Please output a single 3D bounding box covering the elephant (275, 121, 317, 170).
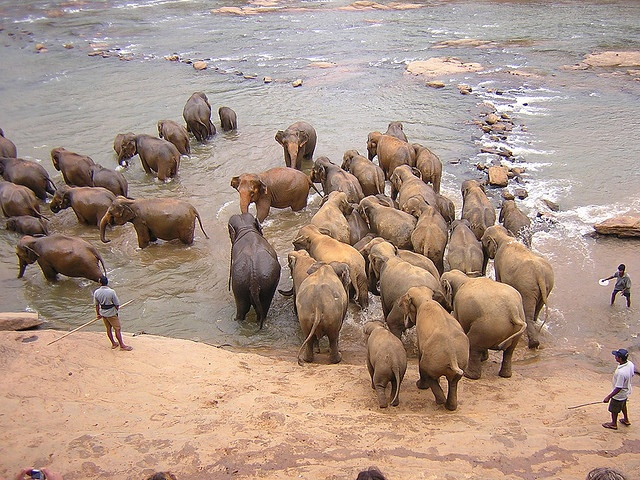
[{"bbox_3d":[-0.582,-2.330,14.880,0.667,1.193,1.612,3,19,18],"label":"elephant"}]

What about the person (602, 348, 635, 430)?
[{"bbox_3d":[4.114,1.951,8.120,0.364,1.010,0.952,7,21,27],"label":"person"}]

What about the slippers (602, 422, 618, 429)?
[{"bbox_3d":[3.888,2.508,7.957,0.166,0.070,0.079,2,12,4],"label":"slippers"}]

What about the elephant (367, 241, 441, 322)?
[{"bbox_3d":[1.266,0.661,9.784,0.748,1.013,1.480,-20,41,-18],"label":"elephant"}]

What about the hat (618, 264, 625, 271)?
[{"bbox_3d":[5.090,0.463,10.011,0.098,0.093,0.073,14,-4,21],"label":"hat"}]

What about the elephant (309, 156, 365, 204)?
[{"bbox_3d":[0.350,-1.291,12.972,0.618,0.858,1.643,-21,42,-21],"label":"elephant"}]

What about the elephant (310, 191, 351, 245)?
[{"bbox_3d":[0.230,-0.501,11.284,0.536,0.649,1.199,-2,44,7],"label":"elephant"}]

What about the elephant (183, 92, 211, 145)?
[{"bbox_3d":[-3.483,-3.728,17.097,0.617,0.921,1.767,-6,50,-5],"label":"elephant"}]

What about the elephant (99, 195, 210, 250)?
[{"bbox_3d":[-3.354,-0.340,12.018,2.108,1.063,0.794,1,22,-2],"label":"elephant"}]

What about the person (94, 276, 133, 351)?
[{"bbox_3d":[-3.196,1.117,9.079,0.383,1.151,0.557,-12,21,-22],"label":"person"}]

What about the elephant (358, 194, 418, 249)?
[{"bbox_3d":[1.261,-0.383,11.325,0.601,0.882,1.289,-38,60,-10],"label":"elephant"}]

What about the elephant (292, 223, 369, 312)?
[{"bbox_3d":[0.117,0.401,10.722,0.756,1.091,2.112,-20,37,-31],"label":"elephant"}]

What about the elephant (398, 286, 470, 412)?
[{"bbox_3d":[1.706,1.557,8.583,0.644,1.374,1.242,-7,19,-9],"label":"elephant"}]

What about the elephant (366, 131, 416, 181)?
[{"bbox_3d":[1.655,-1.958,14.376,0.611,1.135,1.880,-18,28,-21],"label":"elephant"}]

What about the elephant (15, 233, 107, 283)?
[{"bbox_3d":[-4.780,0.398,10.882,1.704,0.984,0.633,5,22,3],"label":"elephant"}]

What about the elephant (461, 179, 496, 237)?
[{"bbox_3d":[3.073,-0.758,11.715,0.522,0.799,1.505,-6,43,6],"label":"elephant"}]
